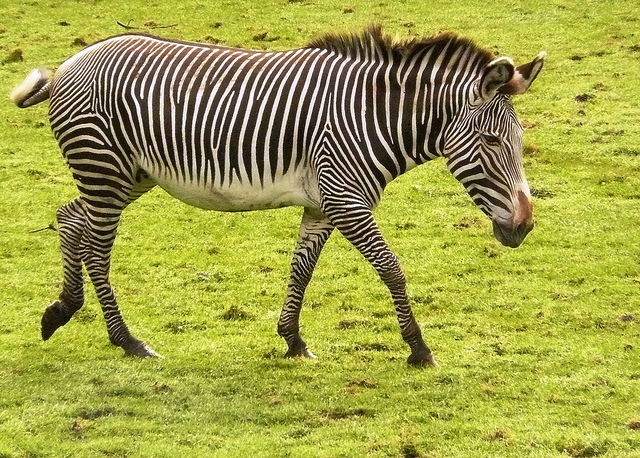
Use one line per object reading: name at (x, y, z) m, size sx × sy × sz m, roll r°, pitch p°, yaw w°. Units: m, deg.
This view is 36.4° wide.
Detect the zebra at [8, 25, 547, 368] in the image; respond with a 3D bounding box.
zebra at (-0.630, -0.301, 13.002) m, size 7.032 × 4.327 × 1.648 m, roll 4°, pitch 7°, yaw 9°
